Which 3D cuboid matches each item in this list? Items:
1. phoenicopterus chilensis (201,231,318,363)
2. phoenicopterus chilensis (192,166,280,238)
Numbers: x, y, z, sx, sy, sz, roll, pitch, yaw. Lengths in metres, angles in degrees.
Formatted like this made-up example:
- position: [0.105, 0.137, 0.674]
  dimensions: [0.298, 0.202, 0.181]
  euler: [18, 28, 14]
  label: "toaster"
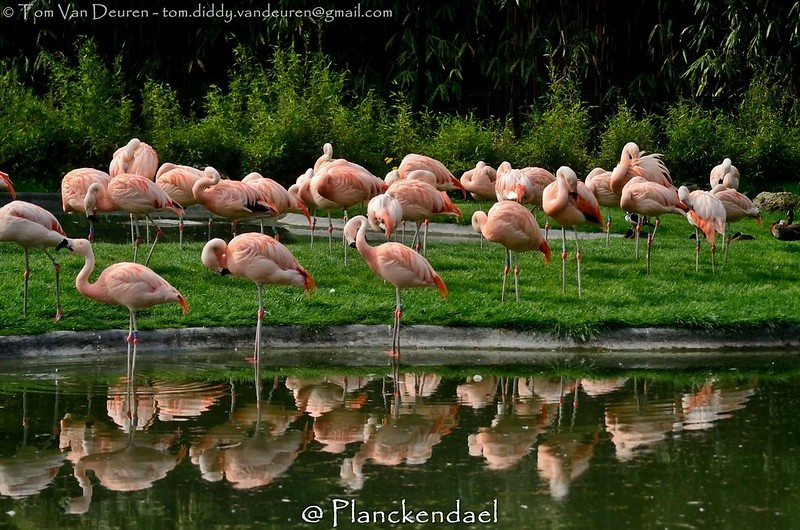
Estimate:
- position: [-1.846, 0.306, 16.214]
  dimensions: [1.103, 1.465, 0.960]
  euler: [22, 32, 32]
  label: "phoenicopterus chilensis"
- position: [-2.410, -0.887, 18.187]
  dimensions: [1.264, 1.024, 0.604]
  euler: [-2, 4, -21]
  label: "phoenicopterus chilensis"
